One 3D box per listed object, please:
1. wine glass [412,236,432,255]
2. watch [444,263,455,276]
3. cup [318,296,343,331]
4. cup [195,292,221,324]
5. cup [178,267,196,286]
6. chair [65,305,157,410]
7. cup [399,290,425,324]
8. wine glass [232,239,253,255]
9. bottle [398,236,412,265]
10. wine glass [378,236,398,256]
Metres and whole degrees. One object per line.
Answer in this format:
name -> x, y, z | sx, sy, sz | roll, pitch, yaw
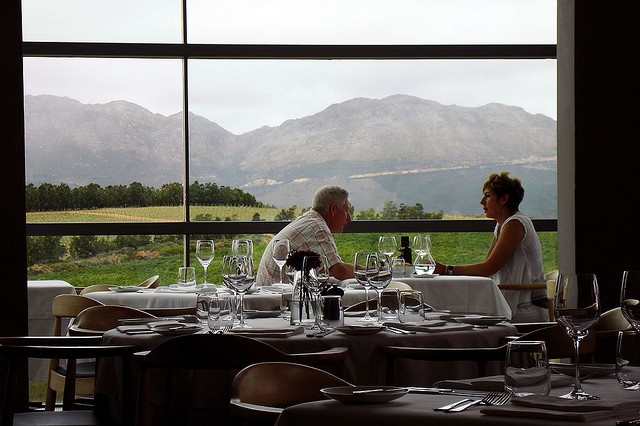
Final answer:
wine glass -> 0.896, 0.283, 5.803 | 0.142, 0.249, 0.151 | 4, -9, -10
watch -> 1.131, 0.506, 5.758 | 0.054, 0.091, 0.078 | 1, -3, -4
cup -> 0.063, 0.600, 3.974 | 0.123, 0.179, 0.175 | 0, -7, -7
cup -> -0.626, 0.543, 3.861 | 0.183, 0.209, 0.181 | 0, -6, 0
cup -> -1.061, 0.510, 5.293 | 0.126, 0.142, 0.136 | 0, -4, 0
chair -> -1.292, 0.967, 4.449 | 0.528, 0.761, 0.516 | 1, -13, -10
cup -> 0.570, 0.584, 4.081 | 0.162, 0.245, 0.158 | -1, -6, 0
wine glass -> -0.590, 0.274, 4.940 | 0.127, 0.140, 0.114 | 1, -5, -9
bottle -> 0.795, 0.348, 6.123 | 0.119, 0.275, 0.328 | -3, -8, 7
wine glass -> 0.552, 0.279, 5.480 | 0.139, 0.234, 0.148 | 0, -4, -2
